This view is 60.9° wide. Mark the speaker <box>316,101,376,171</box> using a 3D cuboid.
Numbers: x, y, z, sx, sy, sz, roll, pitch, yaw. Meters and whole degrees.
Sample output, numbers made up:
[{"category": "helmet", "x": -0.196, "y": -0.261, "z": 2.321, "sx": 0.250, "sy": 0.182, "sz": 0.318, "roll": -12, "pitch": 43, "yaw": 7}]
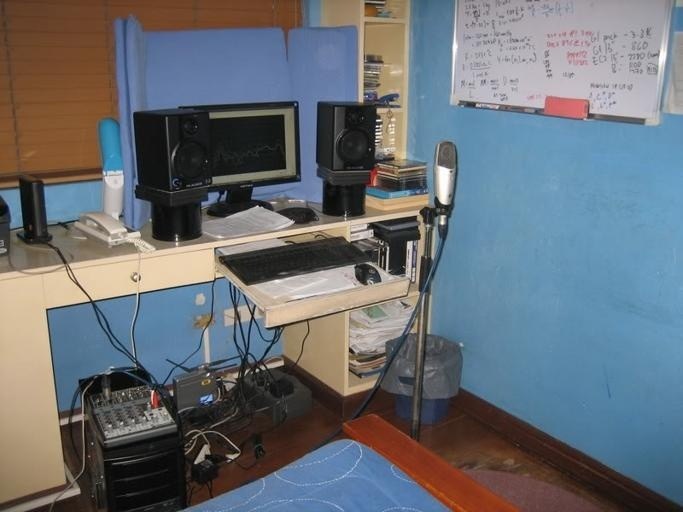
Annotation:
[{"category": "speaker", "x": 0.016, "y": -0.622, "z": 2.877, "sx": 0.213, "sy": 0.308, "sz": 0.301, "roll": -8, "pitch": 27, "yaw": -19}]

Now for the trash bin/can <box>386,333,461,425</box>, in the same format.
[{"category": "trash bin/can", "x": 0.407, "y": 0.654, "z": 3.083, "sx": 0.432, "sy": 0.385, "sz": 0.422, "roll": -1, "pitch": 5, "yaw": -16}]

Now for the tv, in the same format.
[{"category": "tv", "x": -0.499, "y": -0.506, "z": 2.905, "sx": 0.558, "sy": 0.518, "sz": 0.294, "roll": -12, "pitch": 24, "yaw": -36}]

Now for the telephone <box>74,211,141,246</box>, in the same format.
[{"category": "telephone", "x": -1.006, "y": -0.127, "z": 2.497, "sx": 0.276, "sy": 0.093, "sz": 0.164, "roll": 19, "pitch": 23, "yaw": 38}]

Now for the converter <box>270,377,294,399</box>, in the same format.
[{"category": "converter", "x": -0.317, "y": 0.683, "z": 3.056, "sx": 0.078, "sy": 0.040, "sz": 0.102, "roll": 2, "pitch": 24, "yaw": -24}]

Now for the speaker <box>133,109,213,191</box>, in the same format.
[{"category": "speaker", "x": -0.739, "y": -0.464, "z": 2.527, "sx": 0.293, "sy": 0.317, "sz": 0.219, "roll": 15, "pitch": 22, "yaw": 39}]

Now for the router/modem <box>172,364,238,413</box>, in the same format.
[{"category": "router/modem", "x": -0.710, "y": 0.682, "z": 2.970, "sx": 0.206, "sy": 0.217, "sz": 0.082, "roll": -10, "pitch": 21, "yaw": -37}]

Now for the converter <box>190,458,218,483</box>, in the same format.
[{"category": "converter", "x": -0.622, "y": 0.961, "z": 2.610, "sx": 0.082, "sy": 0.062, "sz": 0.086, "roll": 15, "pitch": 19, "yaw": 32}]

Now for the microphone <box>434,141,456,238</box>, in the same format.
[{"category": "microphone", "x": 0.424, "y": -0.269, "z": 2.381, "sx": 0.080, "sy": 0.389, "sz": 0.099, "roll": 9, "pitch": 16, "yaw": 38}]
